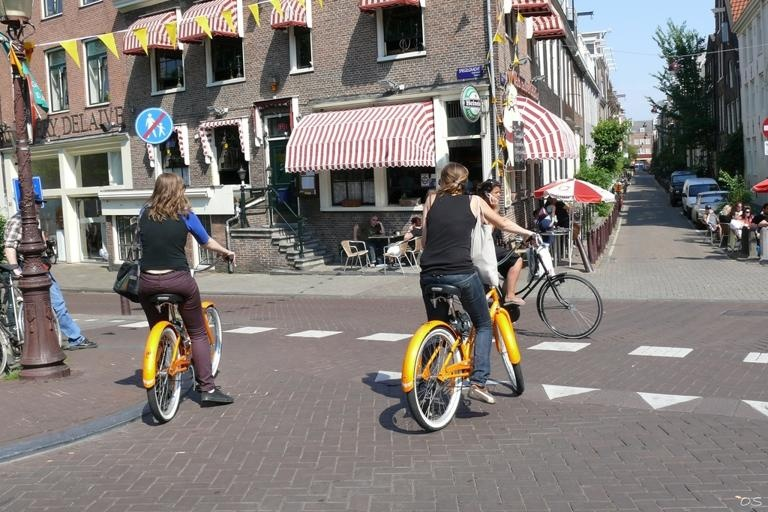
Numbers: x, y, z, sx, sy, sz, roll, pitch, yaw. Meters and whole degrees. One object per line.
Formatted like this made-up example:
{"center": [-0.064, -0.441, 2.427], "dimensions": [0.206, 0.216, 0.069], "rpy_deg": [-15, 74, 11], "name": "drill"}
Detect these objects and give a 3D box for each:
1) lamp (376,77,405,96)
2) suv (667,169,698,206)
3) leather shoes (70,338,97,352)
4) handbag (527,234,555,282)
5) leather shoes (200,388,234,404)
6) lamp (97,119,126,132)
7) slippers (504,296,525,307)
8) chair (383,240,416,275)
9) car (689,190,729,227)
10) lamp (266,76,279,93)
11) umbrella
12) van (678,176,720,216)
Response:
{"center": [0.198, -4.854, 23.412], "dimensions": [0.835, 0.487, 0.538], "rpy_deg": [-1, 9, 9], "name": "lamp"}
{"center": [18.583, -4.240, 49.989], "dimensions": [1.981, 1.974, 3.436], "rpy_deg": [-1, 2, 12], "name": "suv"}
{"center": [-4.973, 1.448, 13.502], "dimensions": [0.444, 0.221, 0.185], "rpy_deg": [-5, 8, -20], "name": "leather shoes"}
{"center": [2.458, 0.085, 12.817], "dimensions": [0.455, 0.470, 0.756], "rpy_deg": [-2, 11, 23], "name": "handbag"}
{"center": [-2.159, 1.798, 10.583], "dimensions": [0.505, 0.230, 0.184], "rpy_deg": [3, 4, -17], "name": "leather shoes"}
{"center": [-9.835, -4.640, 29.451], "dimensions": [0.633, 0.333, 0.637], "rpy_deg": [-1, 3, -22], "name": "lamp"}
{"center": [1.892, 0.660, 11.907], "dimensions": [0.265, 0.113, 0.139], "rpy_deg": [-1, 2, 7], "name": "slippers"}
{"center": [0.388, -0.016, 22.232], "dimensions": [0.832, 1.176, 0.824], "rpy_deg": [7, 10, 32], "name": "chair"}
{"center": [13.489, -2.076, 33.399], "dimensions": [1.491, 1.446, 2.917], "rpy_deg": [-1, -3, 13], "name": "car"}
{"center": [-3.436, -5.327, 25.297], "dimensions": [0.363, 0.532, 0.226], "rpy_deg": [4, 11, 32], "name": "lamp"}
{"center": [5.163, -1.058, 23.119], "dimensions": [2.379, 2.516, 2.475], "rpy_deg": [14, 23, 38], "name": "umbrella"}
{"center": [15.142, -2.882, 39.059], "dimensions": [1.631, 1.470, 2.838], "rpy_deg": [0, 1, 14], "name": "van"}
